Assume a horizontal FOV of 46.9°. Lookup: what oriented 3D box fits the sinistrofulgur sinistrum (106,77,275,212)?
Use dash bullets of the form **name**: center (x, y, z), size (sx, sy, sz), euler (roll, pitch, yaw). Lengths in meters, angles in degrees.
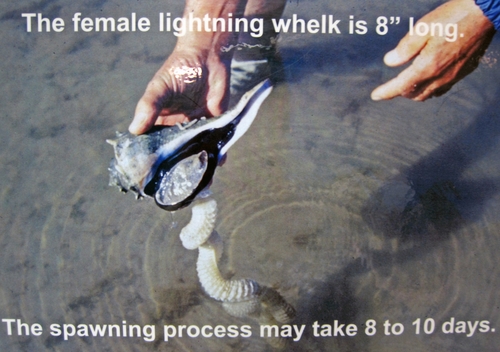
- **sinistrofulgur sinistrum**: center (-0.221, -0.088, 2.183), size (0.607, 0.250, 0.319), euler (-27, 58, 12)
